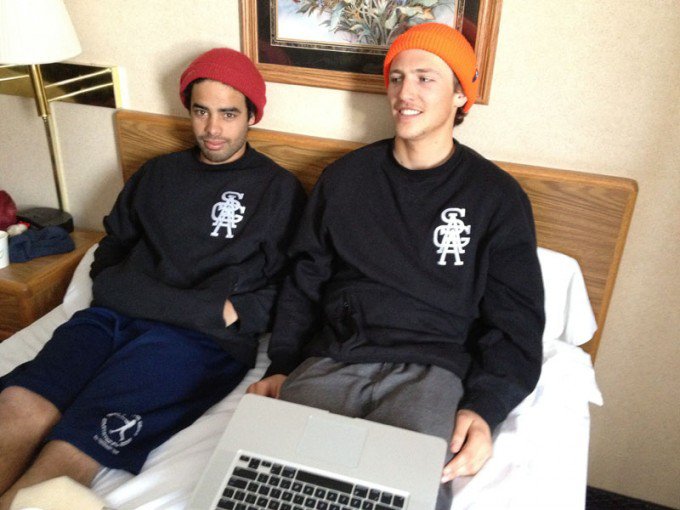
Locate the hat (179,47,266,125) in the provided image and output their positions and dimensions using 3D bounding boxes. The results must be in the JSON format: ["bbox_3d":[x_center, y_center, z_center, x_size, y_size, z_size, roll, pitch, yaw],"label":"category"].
[{"bbox_3d":[-0.388,-0.640,1.804,0.242,0.276,0.104,9,60,2],"label":"hat"}]

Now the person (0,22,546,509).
[{"bbox_3d":[0.197,-0.075,1.479,0.829,1.070,0.882,-22,35,-37],"label":"person"}]
